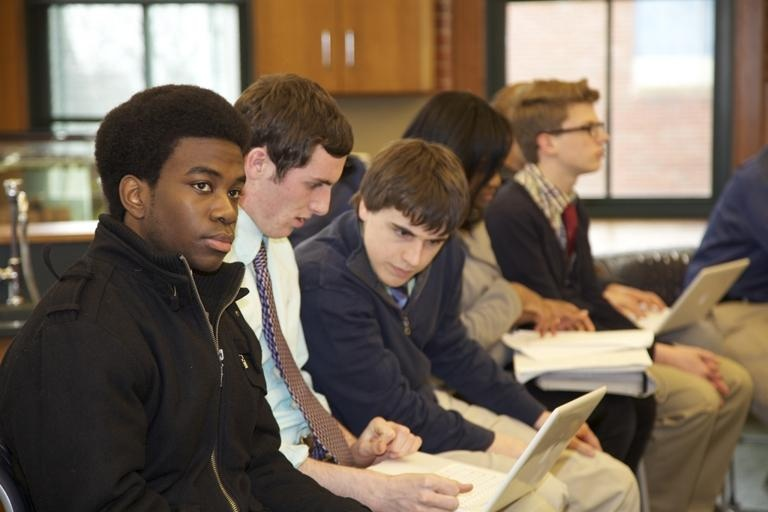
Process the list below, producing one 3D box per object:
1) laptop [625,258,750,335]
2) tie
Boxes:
[{"bbox_3d":[1.162,0.147,3.197,0.435,0.325,0.286,-5,17,-41],"label":"laptop"},{"bbox_3d":[-0.237,0.321,2.281,0.137,1.085,0.118,-1,-10,-42],"label":"tie"}]
